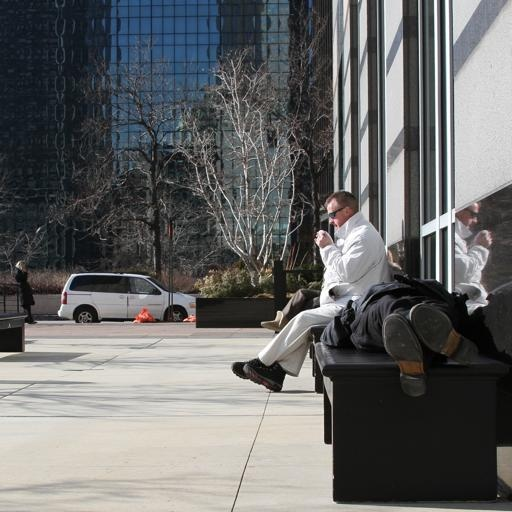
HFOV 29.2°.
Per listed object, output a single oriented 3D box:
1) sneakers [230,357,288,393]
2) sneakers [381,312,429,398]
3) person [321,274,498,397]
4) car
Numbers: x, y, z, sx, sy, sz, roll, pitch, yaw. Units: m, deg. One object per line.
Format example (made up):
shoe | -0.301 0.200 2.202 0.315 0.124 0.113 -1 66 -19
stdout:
sneakers | 0.038 0.997 8.200 0.306 0.111 0.232 27 45 4
sneakers | 0.850 0.547 5.573 0.181 0.533 0.217 -7 18 10
person | 0.962 0.363 5.921 0.611 0.433 1.061 -12 12 14
car | -2.881 0.948 22.479 2.828 1.132 1.393 -1 -2 -4
